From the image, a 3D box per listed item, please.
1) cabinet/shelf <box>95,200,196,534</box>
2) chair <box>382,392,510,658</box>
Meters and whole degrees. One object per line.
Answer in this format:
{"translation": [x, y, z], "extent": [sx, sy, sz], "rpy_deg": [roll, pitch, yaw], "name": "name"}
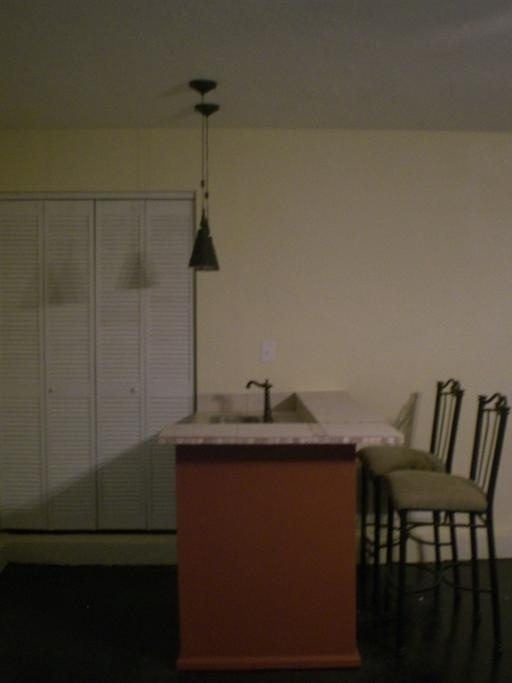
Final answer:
{"translation": [-0.585, 0.128, 3.958], "extent": [0.522, 1.748, 0.214], "rpy_deg": [0, 8, 1], "name": "cabinet/shelf"}
{"translation": [0.866, 0.700, 3.421], "extent": [0.622, 1.064, 1.170], "rpy_deg": [1, 9, 10], "name": "chair"}
